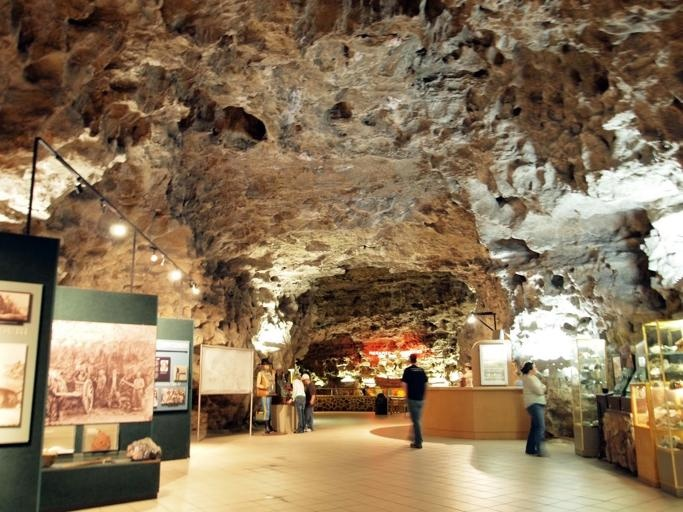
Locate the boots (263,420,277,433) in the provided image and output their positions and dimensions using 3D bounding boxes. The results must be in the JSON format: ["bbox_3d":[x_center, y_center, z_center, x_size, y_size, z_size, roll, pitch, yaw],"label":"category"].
[{"bbox_3d":[-1.844,4.336,12.038,0.234,0.271,0.739,0,-3,7],"label":"boots"}]

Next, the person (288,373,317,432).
[{"bbox_3d":[-0.999,3.784,12.089,0.571,1.444,1.112,0,-12,-6],"label":"person"}]

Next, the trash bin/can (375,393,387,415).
[{"bbox_3d":[1.606,5.893,18.659,0.447,0.777,0.722,-2,-12,0],"label":"trash bin/can"}]

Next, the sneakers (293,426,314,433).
[{"bbox_3d":[-0.959,4.506,12.106,0.542,0.210,0.170,16,-30,-14],"label":"sneakers"}]

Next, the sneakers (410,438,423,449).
[{"bbox_3d":[1.379,3.413,8.592,0.140,0.130,0.334,0,-8,6],"label":"sneakers"}]

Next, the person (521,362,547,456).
[{"bbox_3d":[3.216,2.526,7.812,0.396,1.480,0.423,-5,-13,17],"label":"person"}]

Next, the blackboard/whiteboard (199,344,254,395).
[{"bbox_3d":[-2.510,2.470,10.146,0.097,0.904,1.437,-15,-21,32],"label":"blackboard/whiteboard"}]
